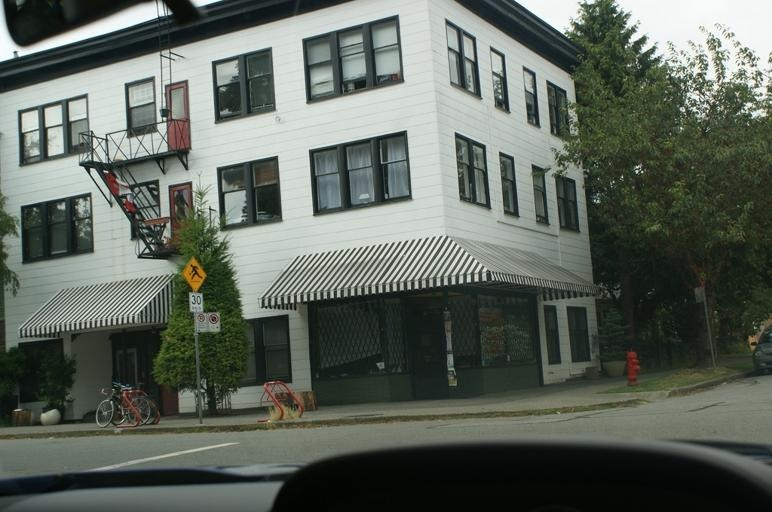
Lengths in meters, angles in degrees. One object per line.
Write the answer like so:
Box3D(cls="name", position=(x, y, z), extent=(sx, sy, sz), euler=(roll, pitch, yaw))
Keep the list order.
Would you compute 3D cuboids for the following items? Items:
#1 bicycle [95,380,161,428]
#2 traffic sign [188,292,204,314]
Box3D(cls="bicycle", position=(-9.220, 5.319, 35.139), extent=(2.205, 1.589, 0.930), euler=(-7, -12, 16))
Box3D(cls="traffic sign", position=(-6.271, 1.566, 32.561), extent=(0.229, 0.710, 0.579), euler=(-11, -14, 33))
